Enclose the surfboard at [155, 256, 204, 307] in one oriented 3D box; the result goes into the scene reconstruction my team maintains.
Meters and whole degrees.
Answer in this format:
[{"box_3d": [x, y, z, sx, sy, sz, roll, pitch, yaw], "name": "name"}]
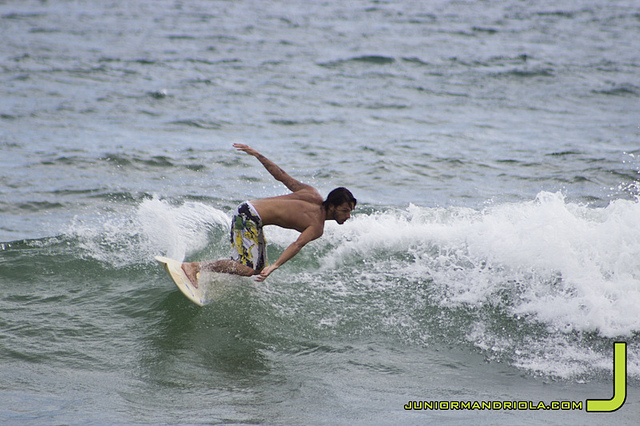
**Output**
[{"box_3d": [-3.152, 1.553, 23.310, 0.332, 0.422, 1.393, -44, 37, -9], "name": "surfboard"}]
